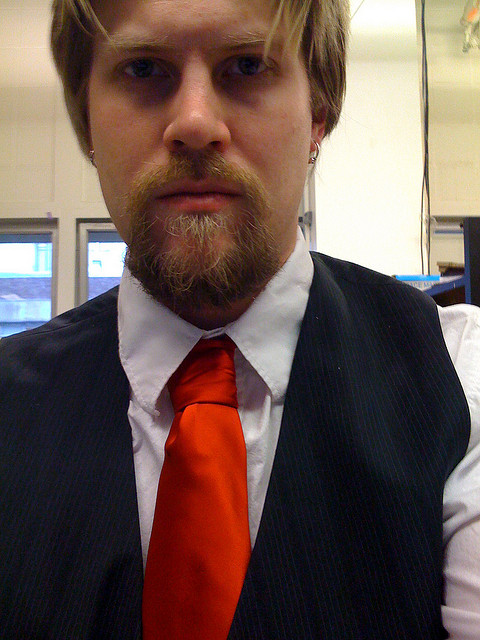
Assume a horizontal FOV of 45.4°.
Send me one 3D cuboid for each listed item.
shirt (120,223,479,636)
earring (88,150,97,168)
[{"bbox_3d":[-0.021,0.173,0.849,0.345,0.475,0.121,1,-15,2],"label":"shirt"},{"bbox_3d":[-0.255,-0.278,0.985,0.010,0.028,0.160,-4,16,-14],"label":"earring"}]
